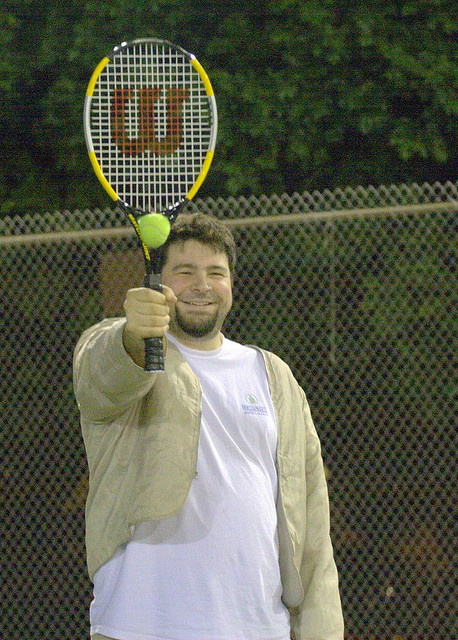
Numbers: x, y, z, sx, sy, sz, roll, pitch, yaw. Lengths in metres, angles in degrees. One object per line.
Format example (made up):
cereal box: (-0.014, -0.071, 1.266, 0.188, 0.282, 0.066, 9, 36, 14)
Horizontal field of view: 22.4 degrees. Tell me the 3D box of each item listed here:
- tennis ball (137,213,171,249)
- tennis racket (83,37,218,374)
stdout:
tennis ball: (-0.312, -0.365, 4.807, 0.127, 0.177, 0.139, 4, 35, -3)
tennis racket: (-0.381, -0.517, 5.820, 0.636, 2.061, 0.186, -2, 44, -5)
